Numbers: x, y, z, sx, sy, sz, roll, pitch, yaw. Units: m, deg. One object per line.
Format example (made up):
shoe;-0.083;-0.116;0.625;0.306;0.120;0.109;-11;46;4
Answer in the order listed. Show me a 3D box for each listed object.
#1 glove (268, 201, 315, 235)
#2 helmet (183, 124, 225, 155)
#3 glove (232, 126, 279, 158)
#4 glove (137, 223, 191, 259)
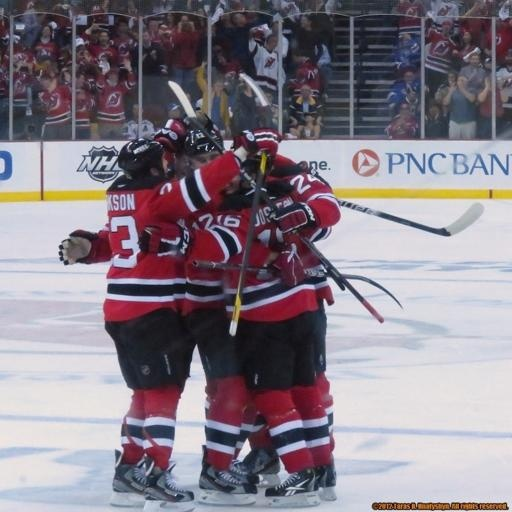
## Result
glove;0.164;-0.175;5.016;0.172;0.059;0.147;9;38;9
helmet;-0.258;-0.557;5.277;0.182;0.142;0.133;-9;12;21
glove;-0.004;-0.510;4.965;0.171;0.064;0.141;3;45;8
glove;-0.419;-0.066;4.996;0.235;0.168;0.118;-1;15;-4
